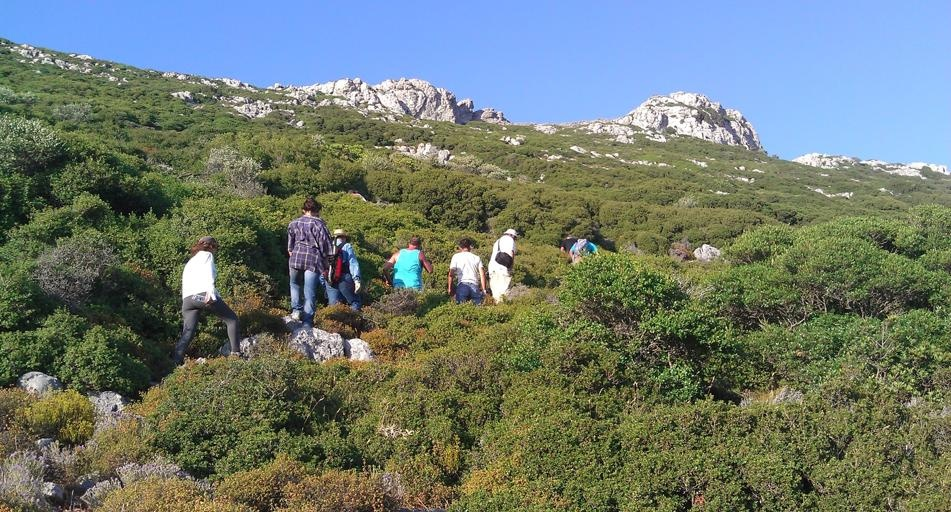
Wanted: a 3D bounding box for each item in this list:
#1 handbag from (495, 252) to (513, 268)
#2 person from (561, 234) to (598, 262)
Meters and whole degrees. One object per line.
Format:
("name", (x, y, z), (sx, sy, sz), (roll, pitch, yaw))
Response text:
("handbag", (1.312, 0.191, 43.222), (0.786, 0.595, 0.276), (24, -33, -8))
("person", (4.871, -0.368, 43.447), (0.943, 0.748, 2.790), (-13, 10, -6))
